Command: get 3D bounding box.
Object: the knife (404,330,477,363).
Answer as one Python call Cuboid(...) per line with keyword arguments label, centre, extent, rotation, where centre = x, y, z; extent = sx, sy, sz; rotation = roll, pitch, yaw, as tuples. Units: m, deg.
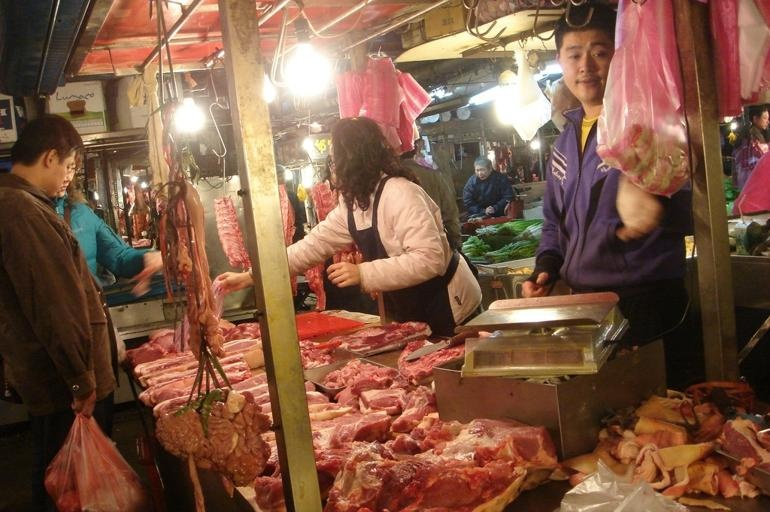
Cuboid(label="knife", centre=(0.378, 0.518, 3.717), extent=(0.166, 0.091, 0.801), rotation=(0, 6, 35))
